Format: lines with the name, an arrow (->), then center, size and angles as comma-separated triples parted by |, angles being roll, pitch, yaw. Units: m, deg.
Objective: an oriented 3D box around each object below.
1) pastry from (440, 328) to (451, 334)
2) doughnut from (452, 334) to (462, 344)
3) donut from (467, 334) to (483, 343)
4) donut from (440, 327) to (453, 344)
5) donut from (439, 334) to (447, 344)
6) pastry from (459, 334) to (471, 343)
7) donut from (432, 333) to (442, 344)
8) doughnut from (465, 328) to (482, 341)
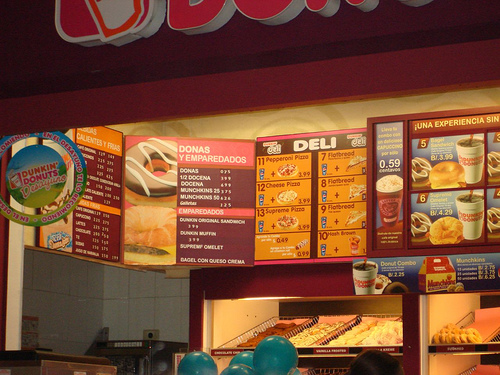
pastry -> 1.716, 1.265, 5.815 | 0.089, 0.050, 0.068 | -6, -14, 14
doughnut -> 1.770, 1.302, 5.652 | 0.066, 0.061, 0.021 | 4, -29, -24
donut -> 1.907, 1.293, 5.642 | 0.123, 0.071, 0.051 | 2, -15, -20
donut -> 1.700, 1.288, 5.769 | 0.028, 0.093, 0.100 | -23, -1, 10
donut -> 1.680, 1.324, 5.755 | 0.029, 0.079, 0.073 | 2, -14, -20
pastry -> 1.832, 1.293, 5.638 | 0.082, 0.071, 0.045 | -5, -14, 11
donut -> 1.643, 1.336, 5.815 | 0.018, 0.063, 0.063 | -15, -26, -7
doughnut -> 1.932, 1.265, 5.728 | 0.096, 0.026, 0.096 | 31, 24, 6
